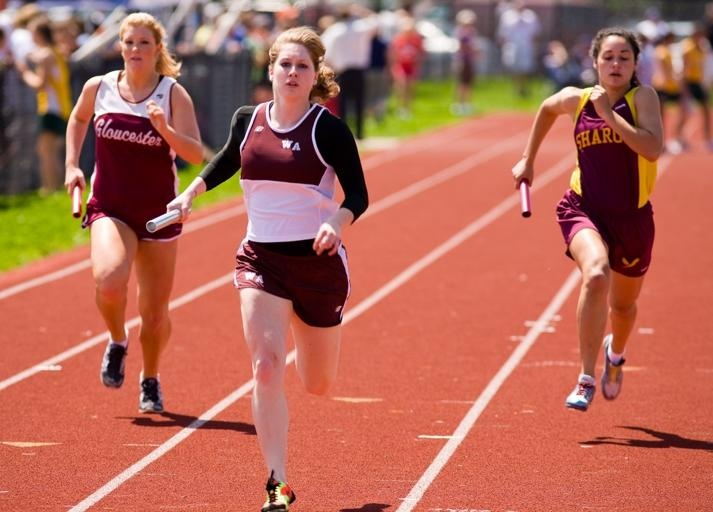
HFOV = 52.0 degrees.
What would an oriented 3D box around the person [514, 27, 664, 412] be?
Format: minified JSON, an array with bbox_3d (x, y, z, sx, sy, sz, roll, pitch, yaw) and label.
[{"bbox_3d":[1.510,-0.152,4.603,0.736,2.474,0.801,-3,12,-15],"label":"person"}]

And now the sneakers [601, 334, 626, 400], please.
[{"bbox_3d":[1.731,0.758,4.905,0.144,0.467,0.177,1,4,-3],"label":"sneakers"}]

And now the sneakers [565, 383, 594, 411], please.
[{"bbox_3d":[1.360,0.840,4.482,0.105,0.135,0.292,28,6,10],"label":"sneakers"}]

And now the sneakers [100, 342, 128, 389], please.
[{"bbox_3d":[-1.536,0.705,4.645,0.115,0.354,0.135,9,-26,-24],"label":"sneakers"}]

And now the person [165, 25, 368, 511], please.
[{"bbox_3d":[-0.334,0.061,3.598,0.789,2.341,0.985,-4,12,-18],"label":"person"}]
